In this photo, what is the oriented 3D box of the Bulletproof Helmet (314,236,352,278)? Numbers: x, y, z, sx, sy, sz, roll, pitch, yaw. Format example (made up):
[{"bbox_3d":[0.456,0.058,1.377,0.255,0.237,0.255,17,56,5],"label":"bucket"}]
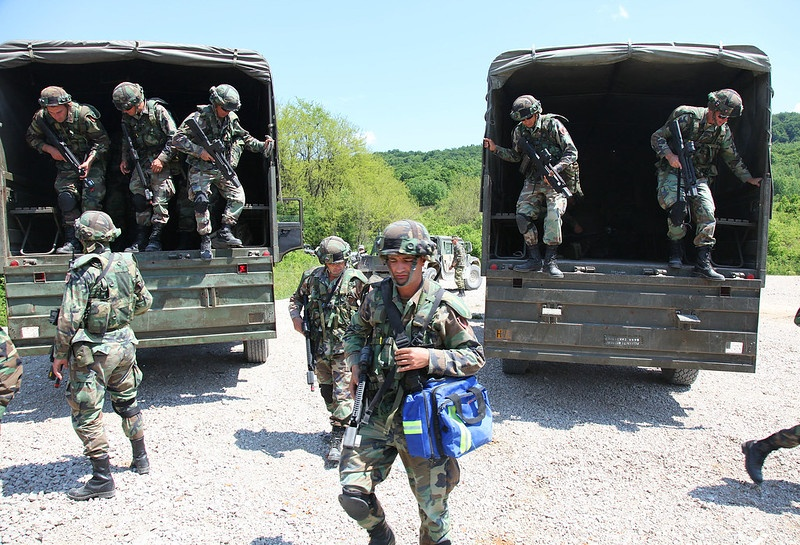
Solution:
[{"bbox_3d":[-0.730,-0.172,6.936,0.372,0.435,0.445,-3,-36,-2],"label":"Bulletproof Helmet"}]

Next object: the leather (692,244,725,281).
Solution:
[{"bbox_3d":[3.844,-0.124,7.673,0.331,0.414,0.373,1,6,29],"label":"leather"}]

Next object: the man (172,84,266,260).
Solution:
[{"bbox_3d":[-2.502,-1.307,8.545,1.185,2.192,0.532,-4,6,-22],"label":"man"}]

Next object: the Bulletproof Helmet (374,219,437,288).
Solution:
[{"bbox_3d":[0.107,-0.174,5.344,0.450,0.530,0.487,-3,-6,43],"label":"Bulletproof Helmet"}]

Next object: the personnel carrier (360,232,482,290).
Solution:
[{"bbox_3d":[1.221,-0.203,17.226,1.855,1.399,2.781,4,10,34],"label":"personnel carrier"}]

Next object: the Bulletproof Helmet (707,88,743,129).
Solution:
[{"bbox_3d":[4.096,-2.116,7.919,0.428,0.429,0.445,22,27,16],"label":"Bulletproof Helmet"}]

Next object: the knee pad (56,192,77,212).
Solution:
[{"bbox_3d":[-4.605,-0.982,8.555,0.257,0.271,0.190,-8,8,-43],"label":"knee pad"}]

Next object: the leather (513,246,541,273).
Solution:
[{"bbox_3d":[1.577,-0.171,8.064,0.439,0.454,0.238,1,1,1],"label":"leather"}]

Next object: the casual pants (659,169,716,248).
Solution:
[{"bbox_3d":[3.710,-0.789,8.095,0.593,1.130,0.351,0,-6,11],"label":"casual pants"}]

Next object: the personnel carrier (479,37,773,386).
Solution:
[{"bbox_3d":[3.167,-0.921,10.667,3.582,4.586,6.051,1,0,7],"label":"personnel carrier"}]

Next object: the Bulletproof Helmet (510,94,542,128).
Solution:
[{"bbox_3d":[1.707,-2.187,8.249,0.372,0.427,0.396,2,-38,21],"label":"Bulletproof Helmet"}]

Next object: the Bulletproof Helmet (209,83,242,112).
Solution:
[{"bbox_3d":[-2.404,-2.431,8.450,0.380,0.326,0.362,35,21,17],"label":"Bulletproof Helmet"}]

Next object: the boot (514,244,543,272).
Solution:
[{"bbox_3d":[1.682,-0.174,8.093,0.466,0.481,0.240,1,1,1],"label":"boot"}]

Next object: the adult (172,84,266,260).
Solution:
[{"bbox_3d":[-2.502,-1.307,8.545,1.185,2.192,0.532,-4,6,-22],"label":"adult"}]

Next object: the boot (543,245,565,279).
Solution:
[{"bbox_3d":[1.948,-0.155,7.953,0.256,0.400,0.343,-2,6,7],"label":"boot"}]

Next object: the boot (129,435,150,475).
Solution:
[{"bbox_3d":[-2.737,1.939,6.475,0.167,0.373,0.387,-4,3,-9],"label":"boot"}]

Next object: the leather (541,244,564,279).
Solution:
[{"bbox_3d":[1.949,-0.156,7.954,0.258,0.400,0.344,-1,6,8],"label":"leather"}]

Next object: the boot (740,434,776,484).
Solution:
[{"bbox_3d":[3.726,1.949,6.473,0.187,0.593,0.412,-2,21,46],"label":"boot"}]

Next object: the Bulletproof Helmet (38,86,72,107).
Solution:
[{"bbox_3d":[-4.548,-2.368,8.142,0.269,0.163,0.351,-2,23,4],"label":"Bulletproof Helmet"}]

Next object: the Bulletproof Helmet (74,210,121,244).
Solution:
[{"bbox_3d":[-3.193,-0.501,6.587,0.350,0.300,0.401,30,19,19],"label":"Bulletproof Helmet"}]

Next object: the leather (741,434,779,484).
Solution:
[{"bbox_3d":[3.823,1.924,6.573,0.193,0.611,0.409,-9,10,-28],"label":"leather"}]
